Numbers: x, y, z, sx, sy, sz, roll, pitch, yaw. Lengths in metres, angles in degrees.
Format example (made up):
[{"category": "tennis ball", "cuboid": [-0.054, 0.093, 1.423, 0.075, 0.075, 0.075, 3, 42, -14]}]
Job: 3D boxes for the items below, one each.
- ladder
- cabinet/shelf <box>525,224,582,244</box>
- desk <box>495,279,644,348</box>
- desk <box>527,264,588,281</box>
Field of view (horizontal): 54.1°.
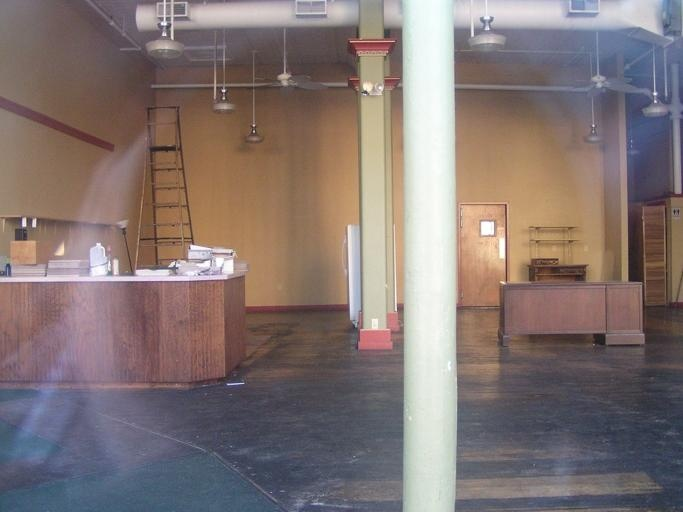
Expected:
[{"category": "ladder", "cuboid": [-3.432, -1.135, 12.751, 0.660, 4.697, 1.151, 2, 2, 3]}, {"category": "cabinet/shelf", "cuboid": [4.212, -0.412, 13.249, 1.010, 0.373, 0.136, -1, 13, -5]}, {"category": "desk", "cuboid": [3.179, 0.951, 9.227, 2.440, 1.226, 1.160, -1, -1, 5]}, {"category": "desk", "cuboid": [4.201, 0.318, 12.898, 1.065, 0.352, 0.331, 1, 14, 6]}]
